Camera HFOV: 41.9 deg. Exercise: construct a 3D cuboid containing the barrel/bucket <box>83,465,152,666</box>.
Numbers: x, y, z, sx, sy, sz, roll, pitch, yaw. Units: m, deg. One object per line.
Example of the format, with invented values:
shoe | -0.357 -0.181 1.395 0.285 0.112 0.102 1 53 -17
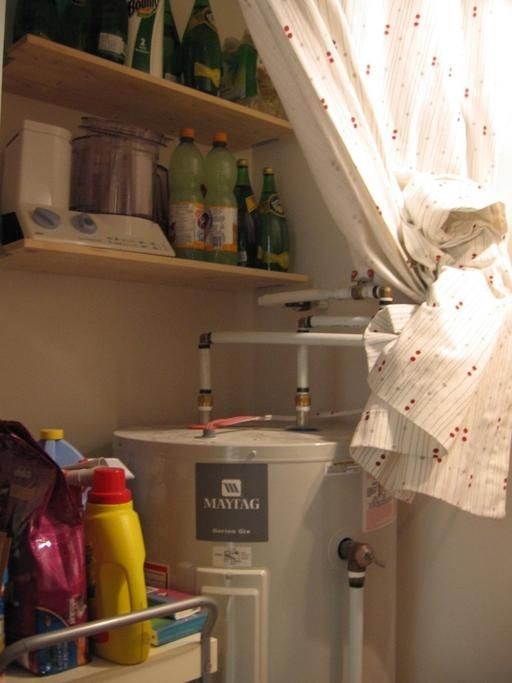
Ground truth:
barrel/bucket | -0.186 0.303 0.884 0.091 0.261 0.148 -1 -4 -10
